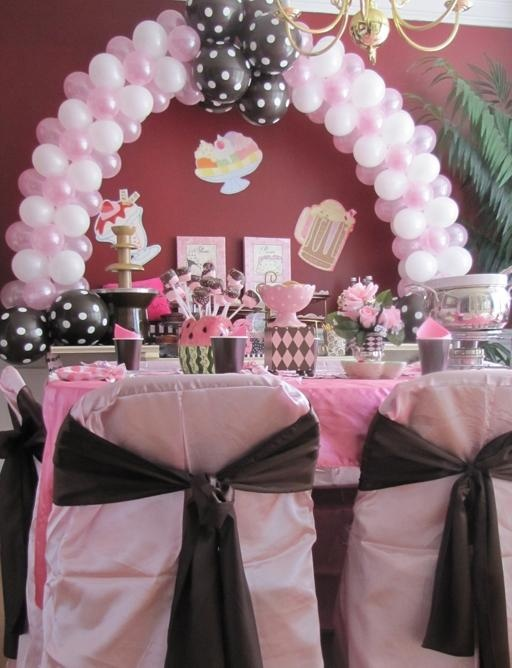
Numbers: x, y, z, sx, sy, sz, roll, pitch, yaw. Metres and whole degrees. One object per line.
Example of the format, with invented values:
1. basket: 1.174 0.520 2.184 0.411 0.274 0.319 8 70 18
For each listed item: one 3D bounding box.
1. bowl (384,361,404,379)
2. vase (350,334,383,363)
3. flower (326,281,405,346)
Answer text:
1. bowl: 0.308 0.082 1.196 0.045 0.026 0.039 7 -8 -43
2. vase: 0.266 0.035 1.282 0.072 0.061 0.065 3 -2 -11
3. flower: 0.279 -0.055 1.345 0.166 0.165 0.207 -1 2 19
